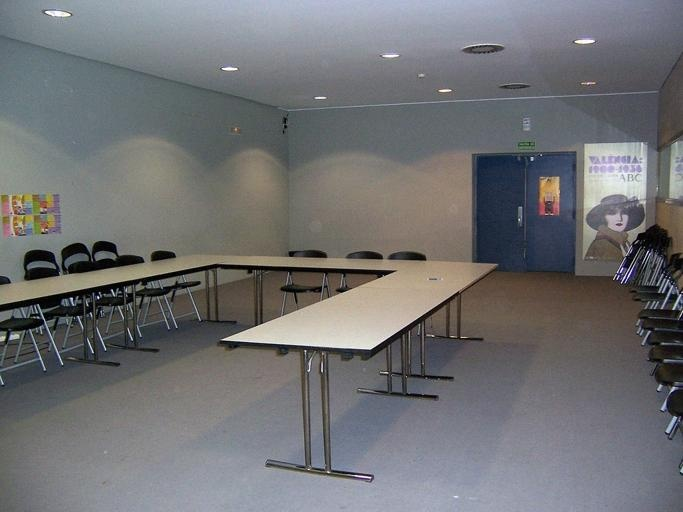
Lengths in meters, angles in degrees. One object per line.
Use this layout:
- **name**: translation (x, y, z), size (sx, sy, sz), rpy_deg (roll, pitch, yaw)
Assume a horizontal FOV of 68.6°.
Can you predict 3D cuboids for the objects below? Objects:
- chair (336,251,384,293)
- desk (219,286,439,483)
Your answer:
- **chair**: translation (0.254, 0.169, 7.131), size (0.650, 0.916, 0.684), rpy_deg (1, -5, 5)
- **desk**: translation (0.041, 0.920, 3.718), size (0.954, 0.974, 1.680), rpy_deg (4, 9, 28)
